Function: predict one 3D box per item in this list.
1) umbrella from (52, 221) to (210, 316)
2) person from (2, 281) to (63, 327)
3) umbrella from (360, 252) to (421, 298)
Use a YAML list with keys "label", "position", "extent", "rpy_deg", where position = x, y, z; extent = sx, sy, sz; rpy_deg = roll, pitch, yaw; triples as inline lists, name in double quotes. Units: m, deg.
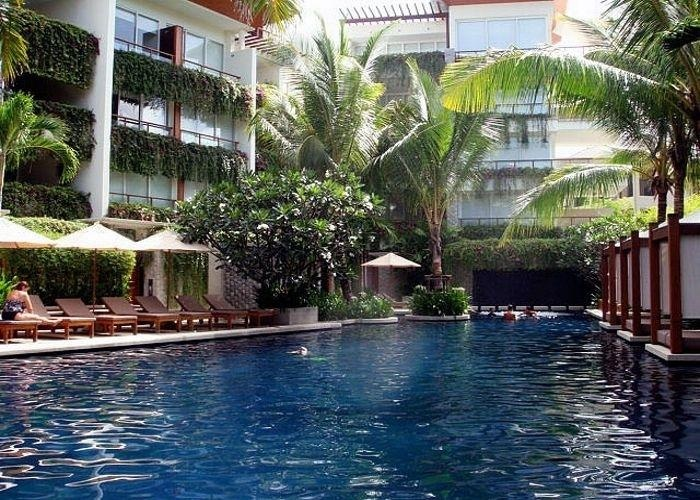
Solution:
- label: "umbrella"
  position: [-7.010, 0.985, 19.068]
  extent: [2.558, 2.184, 4.007]
  rpy_deg: [-1, -2, 39]
- label: "person"
  position: [-8.079, 1.327, 15.798]
  extent: [1.590, 1.093, 0.854]
  rpy_deg: [7, -7, -40]
- label: "umbrella"
  position: [1.822, 1.150, 30.762]
  extent: [2.771, 2.063, 2.696]
  rpy_deg: [2, 0, -26]
